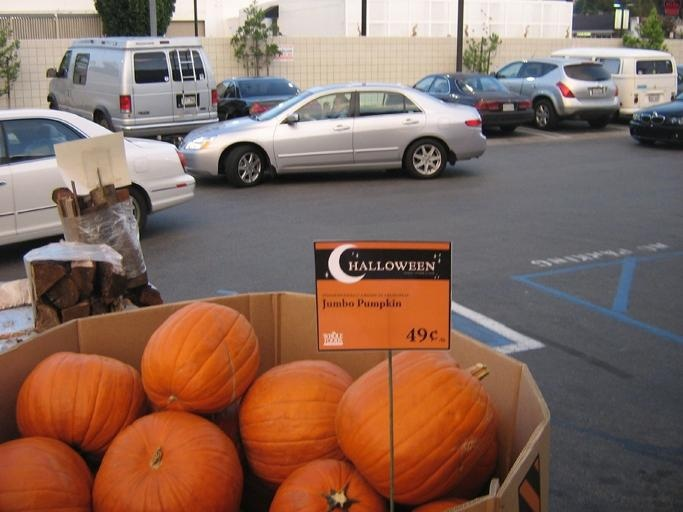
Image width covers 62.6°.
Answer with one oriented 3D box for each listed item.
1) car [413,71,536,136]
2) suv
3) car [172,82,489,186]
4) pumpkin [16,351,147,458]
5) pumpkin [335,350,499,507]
[{"bbox_3d":[4.255,-4.322,17.377,2.942,2.295,2.644,13,21,27],"label":"car"},{"bbox_3d":[7.151,-5.417,18.499,1.838,2.402,4.827,-4,12,-22],"label":"suv"},{"bbox_3d":[-0.216,-2.548,12.172,5.813,2.561,2.428,-1,11,-6],"label":"car"},{"bbox_3d":[-1.202,0.675,2.715,0.393,0.487,0.472,7,-23,2],"label":"pumpkin"},{"bbox_3d":[0.335,0.779,2.434,0.713,0.560,0.421,-2,17,-1],"label":"pumpkin"}]
